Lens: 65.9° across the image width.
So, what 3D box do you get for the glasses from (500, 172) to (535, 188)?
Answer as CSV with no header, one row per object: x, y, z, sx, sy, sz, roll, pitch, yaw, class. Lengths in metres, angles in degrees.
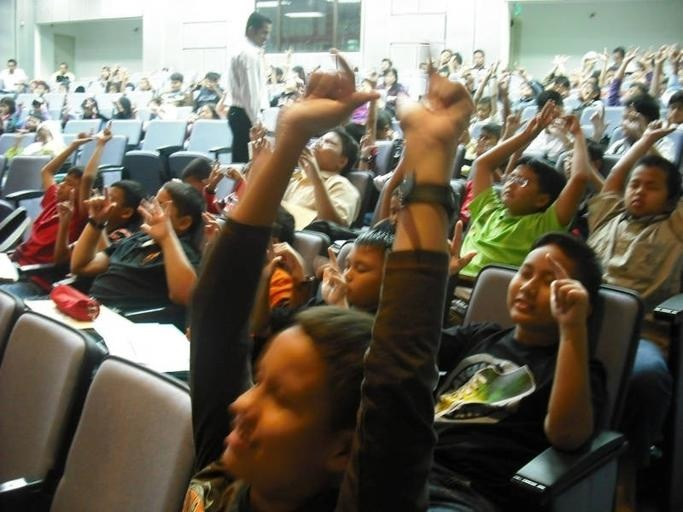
0.916,-0.385,2.665,0.093,0.031,0.094,35,-24,-28,glasses
